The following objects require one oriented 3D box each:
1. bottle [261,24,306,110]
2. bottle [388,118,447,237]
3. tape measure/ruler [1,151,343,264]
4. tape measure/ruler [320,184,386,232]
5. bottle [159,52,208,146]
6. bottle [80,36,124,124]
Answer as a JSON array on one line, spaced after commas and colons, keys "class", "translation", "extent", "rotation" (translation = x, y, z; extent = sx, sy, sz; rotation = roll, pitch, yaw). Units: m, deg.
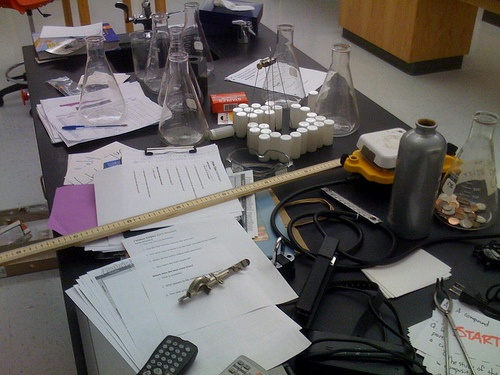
[{"class": "bottle", "translation": [0.106, -0.408, 1.491], "extent": [0.137, 0.320, 0.157], "rotation": [-11, 39, -15]}, {"class": "bottle", "translation": [0.393, -0.023, 0.949], "extent": [0.099, 0.291, 0.126], "rotation": [-9, 40, -15]}, {"class": "tape measure/ruler", "translation": [-0.161, 0.051, 1.087], "extent": [0.948, 0.072, 0.066], "rotation": [-14, 34, -16]}, {"class": "tape measure/ruler", "translation": [0.293, 0.049, 1.112], "extent": [0.114, 0.075, 0.162], "rotation": [-25, 46, -35]}, {"class": "bottle", "translation": [-0.210, -0.284, 1.344], "extent": [0.149, 0.284, 0.166], "rotation": [-21, 35, -36]}, {"class": "bottle", "translation": [-0.518, -0.361, 1.416], "extent": [0.125, 0.279, 0.219], "rotation": [-13, 37, -20]}]
